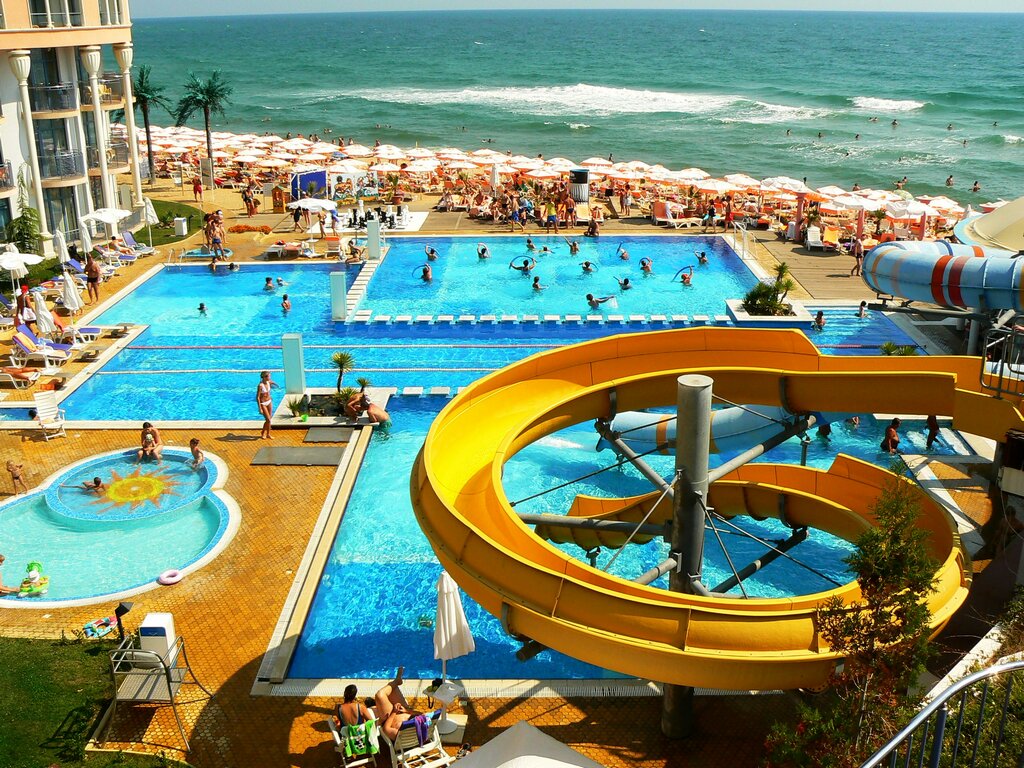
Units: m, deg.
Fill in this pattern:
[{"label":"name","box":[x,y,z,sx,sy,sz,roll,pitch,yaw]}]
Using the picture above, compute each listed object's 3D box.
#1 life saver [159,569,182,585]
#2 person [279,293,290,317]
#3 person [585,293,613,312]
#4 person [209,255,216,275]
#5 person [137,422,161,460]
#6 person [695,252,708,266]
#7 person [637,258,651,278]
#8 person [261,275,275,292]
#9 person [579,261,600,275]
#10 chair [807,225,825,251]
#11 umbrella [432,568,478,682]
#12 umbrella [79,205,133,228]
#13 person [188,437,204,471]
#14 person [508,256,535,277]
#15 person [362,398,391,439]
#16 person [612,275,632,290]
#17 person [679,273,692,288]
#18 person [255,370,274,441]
[{"label":"life saver","box":[-6.222,3.522,13.004,0.366,0.210,0.341,-7,20,-16]},{"label":"person","box":[-8.575,-2.985,26.969,0.332,0.713,0.762,-8,22,-16]},{"label":"person","box":[3.319,-3.246,27.660,0.759,0.571,1.441,6,20,19]},{"label":"person","box":[-12.909,-5.137,30.843,0.331,0.598,0.745,-9,22,-18]},{"label":"person","box":[-8.763,1.331,17.159,0.485,0.958,0.587,-13,25,-26]},{"label":"person","box":[8.552,-5.655,32.082,0.582,0.528,0.940,4,20,13]},{"label":"person","box":[5.751,-5.017,30.929,0.670,0.737,0.366,-2,2,7]},{"label":"person","box":[-10.077,-4.129,29.457,0.388,0.519,0.776,-49,10,-13]},{"label":"person","box":[3.317,-5.028,31.073,0.958,0.580,1.038,-5,-3,7]},{"label":"chair","box":[13.930,-6.857,33.353,1.052,1.088,0.990,1,22,7]},{"label":"umbrella","box":[-0.887,3.546,10.584,0.539,2.070,0.557,-4,23,-5]},{"label":"umbrella","box":[-17.100,-7.071,30.438,2.192,0.646,1.785,1,25,-3]},{"label":"person","box":[-7.439,1.585,16.781,0.310,0.750,0.510,-12,24,-24]},{"label":"person","box":[0.443,-5.225,31.711,1.108,0.282,1.144,-1,29,4]},{"label":"person","box":[-3.538,0.938,18.888,0.556,0.702,0.960,-18,53,-2]},{"label":"person","box":[4.570,-4.226,29.802,0.917,0.813,0.270,16,62,17]},{"label":"person","box":[7.189,-4.300,29.700,0.743,0.450,0.690,16,24,2]},{"label":"person","box":[-6.347,0.421,18.258,0.382,1.610,1.280,-8,23,-16]}]
